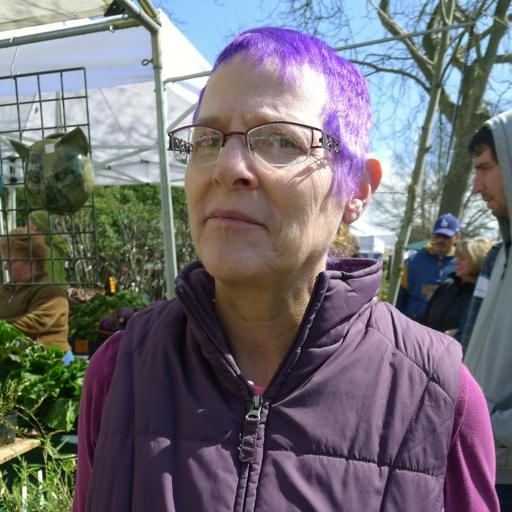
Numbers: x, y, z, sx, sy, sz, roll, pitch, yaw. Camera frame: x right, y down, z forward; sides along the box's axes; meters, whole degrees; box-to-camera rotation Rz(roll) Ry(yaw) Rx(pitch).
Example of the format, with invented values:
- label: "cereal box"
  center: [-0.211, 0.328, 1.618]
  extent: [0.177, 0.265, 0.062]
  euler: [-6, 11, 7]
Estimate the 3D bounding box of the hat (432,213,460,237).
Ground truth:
- label: "hat"
  center: [1.566, -0.252, 5.707]
  extent: [0.124, 0.145, 0.220]
  euler: [10, 6, 25]
